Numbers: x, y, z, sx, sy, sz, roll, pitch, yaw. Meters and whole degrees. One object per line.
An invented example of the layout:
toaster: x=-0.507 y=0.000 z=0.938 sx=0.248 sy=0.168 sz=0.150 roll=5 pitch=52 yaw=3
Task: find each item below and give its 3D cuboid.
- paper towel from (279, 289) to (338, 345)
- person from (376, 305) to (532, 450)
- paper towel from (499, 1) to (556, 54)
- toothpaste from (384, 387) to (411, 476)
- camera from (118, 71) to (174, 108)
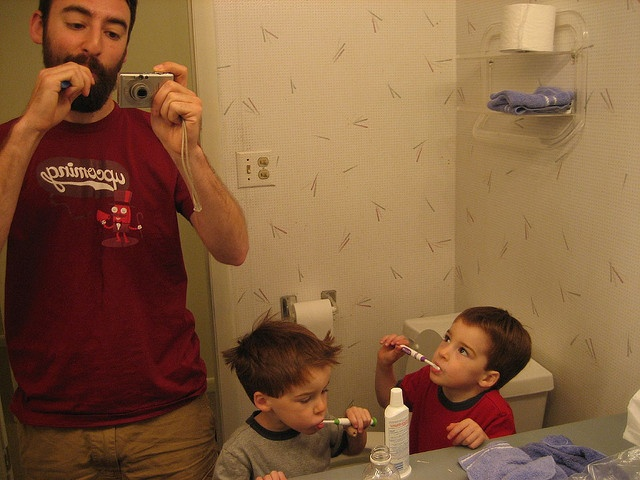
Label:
paper towel: x=-0.049 y=0.280 z=1.979 sx=0.186 sy=0.196 sz=0.152 roll=-2 pitch=-1 yaw=-16
person: x=0.414 y=0.402 z=1.582 sx=0.380 sy=0.838 sz=0.247 roll=-3 pitch=9 yaw=-10
paper towel: x=0.608 y=-0.614 z=1.516 sx=0.122 sy=0.144 sz=0.169 roll=5 pitch=22 yaw=7
toothpaste: x=0.190 y=0.455 z=1.229 sx=0.045 sy=0.237 sz=0.073 roll=-2 pitch=6 yaw=-10
camera: x=-0.431 y=-0.370 z=1.288 sx=0.129 sy=0.085 sz=0.124 roll=-2 pitch=11 yaw=-16
